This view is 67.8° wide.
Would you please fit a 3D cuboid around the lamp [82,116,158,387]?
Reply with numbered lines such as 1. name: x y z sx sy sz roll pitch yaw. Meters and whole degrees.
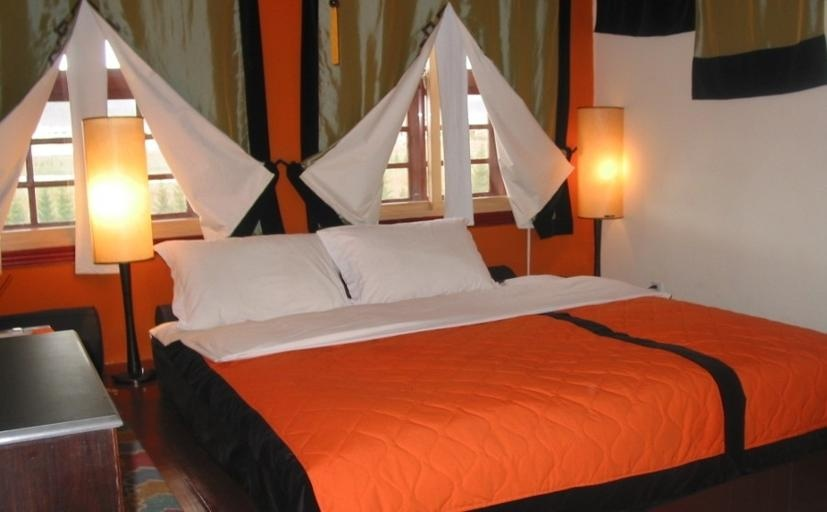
1. lamp: -1.737 -0.019 3.716 0.364 1.621 0.241 -7 6 -17
